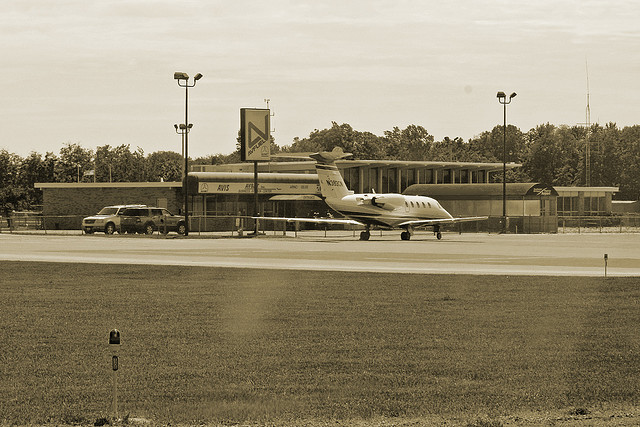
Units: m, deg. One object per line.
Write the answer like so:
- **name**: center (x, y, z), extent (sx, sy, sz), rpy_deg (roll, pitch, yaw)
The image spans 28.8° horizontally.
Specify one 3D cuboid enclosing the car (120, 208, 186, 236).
- **car**: center (-10.587, 0.554, 79.812), extent (1.948, 1.508, 4.409), rpy_deg (-1, -1, 42)
